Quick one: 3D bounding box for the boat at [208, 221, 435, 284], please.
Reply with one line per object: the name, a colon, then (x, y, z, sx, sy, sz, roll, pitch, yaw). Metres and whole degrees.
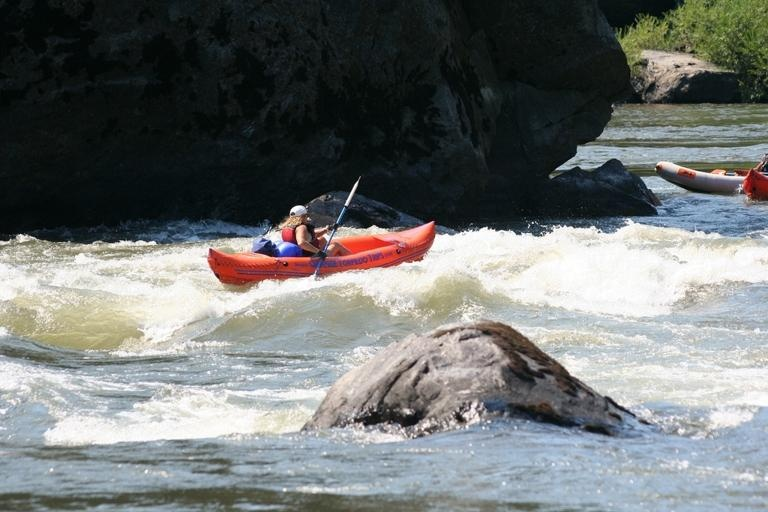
boat: (-1.262, 0.030, 30.294, 4.709, 0.779, 1.567, -8, 17, -15)

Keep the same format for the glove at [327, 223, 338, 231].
glove: (-1.049, -0.570, 30.556, 0.232, 0.081, 0.385, -15, 0, -16)
